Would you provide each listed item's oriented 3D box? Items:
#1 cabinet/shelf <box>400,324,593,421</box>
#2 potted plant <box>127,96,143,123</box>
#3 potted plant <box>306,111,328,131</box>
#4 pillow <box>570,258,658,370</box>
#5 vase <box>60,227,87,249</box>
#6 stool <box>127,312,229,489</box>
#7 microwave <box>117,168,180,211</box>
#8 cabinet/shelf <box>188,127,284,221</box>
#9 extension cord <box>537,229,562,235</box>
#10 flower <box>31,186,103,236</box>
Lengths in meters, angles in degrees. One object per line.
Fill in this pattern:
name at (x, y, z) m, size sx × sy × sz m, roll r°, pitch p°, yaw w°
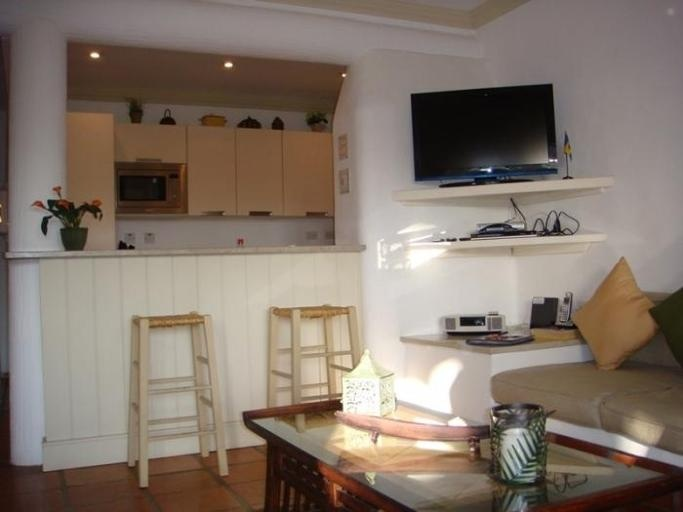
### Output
cabinet/shelf at (1.026, 0.644, 3.581) m, size 0.700 × 0.424 × 0.699 m, roll 0°, pitch -2°, yaw -29°
potted plant at (-2.099, -1.488, 5.491) m, size 0.150 × 0.315 × 0.329 m, roll -1°, pitch 3°, yaw -22°
potted plant at (-0.256, -1.471, 5.946) m, size 0.228 × 0.219 × 0.231 m, roll -3°, pitch 0°, yaw 18°
pillow at (1.594, 0.323, 3.137) m, size 0.164 × 0.542 × 0.540 m, roll 14°, pitch -28°, yaw -1°
vase at (-1.713, -0.109, 3.402) m, size 0.167 × 0.146 × 0.183 m, roll 0°, pitch 3°, yaw -10°
stool at (-0.991, 0.814, 3.231) m, size 0.595 × 0.951 × 0.594 m, roll -1°, pitch 3°, yaw -17°
microwave at (-1.895, -0.666, 5.319) m, size 0.700 × 0.489 × 0.400 m, roll 1°, pitch 2°, yaw -13°
cabinet/shelf at (-1.109, -0.867, 5.516) m, size 0.937 × 0.800 × 0.300 m, roll 1°, pitch 0°, yaw -17°
extension cord at (1.473, -0.167, 3.820) m, size 0.160 × 0.036 × 0.343 m, roll 1°, pitch 3°, yaw 22°
flower at (-1.722, -0.266, 3.433) m, size 0.366 × 0.206 × 0.390 m, roll -8°, pitch -1°, yaw -4°
